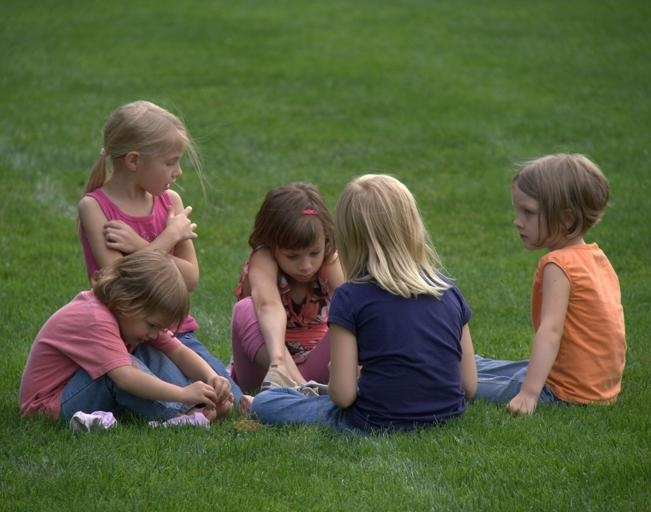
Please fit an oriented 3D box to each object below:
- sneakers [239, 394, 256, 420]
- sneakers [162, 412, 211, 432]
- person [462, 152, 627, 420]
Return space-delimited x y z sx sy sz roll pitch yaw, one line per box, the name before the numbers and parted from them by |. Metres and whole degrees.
sneakers | -0.702 1.321 10.659 0.130 0.172 0.151 0 47 -9
sneakers | -1.188 1.411 10.443 0.267 0.102 0.170 7 -1 -5
person | 2.031 0.249 10.670 1.239 2.126 1.030 6 17 15
